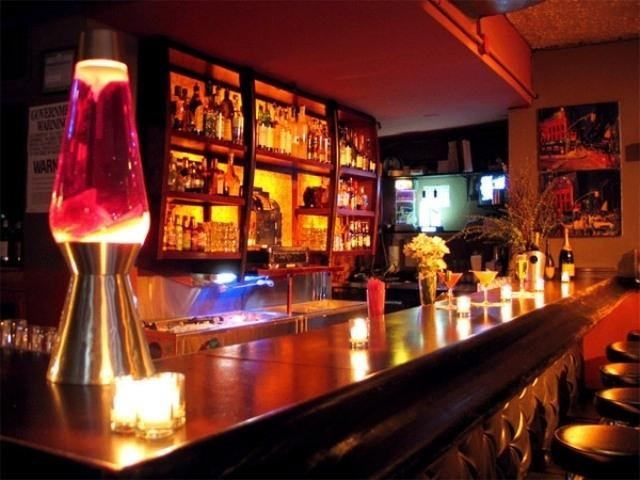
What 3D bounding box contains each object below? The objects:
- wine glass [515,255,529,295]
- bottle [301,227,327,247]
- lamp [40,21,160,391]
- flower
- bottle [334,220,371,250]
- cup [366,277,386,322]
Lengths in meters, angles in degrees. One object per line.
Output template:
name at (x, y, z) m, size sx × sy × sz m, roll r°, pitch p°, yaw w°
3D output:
wine glass at (1.657, 0.290, 4.493) m, size 0.113 × 0.348 × 0.109 m, roll 0°, pitch -3°, yaw -4°
bottle at (-0.078, -0.011, 5.646) m, size 0.319 × 0.233 × 0.176 m, roll 1°, pitch -6°, yaw -9°
lamp at (-0.631, -0.094, 1.580) m, size 0.331 × 1.043 × 0.230 m, roll 12°, pitch 9°, yaw 41°
flower at (0.786, 0.237, 3.944) m, size 0.337 × 0.444 × 0.338 m, roll 0°, pitch -2°, yaw 1°
bottle at (0.343, -0.046, 6.101) m, size 0.320 × 0.300 × 0.168 m, roll 4°, pitch -8°, yaw -41°
cup at (0.374, 0.387, 3.674) m, size 0.104 × 0.261 × 0.100 m, roll -4°, pitch 23°, yaw 2°
